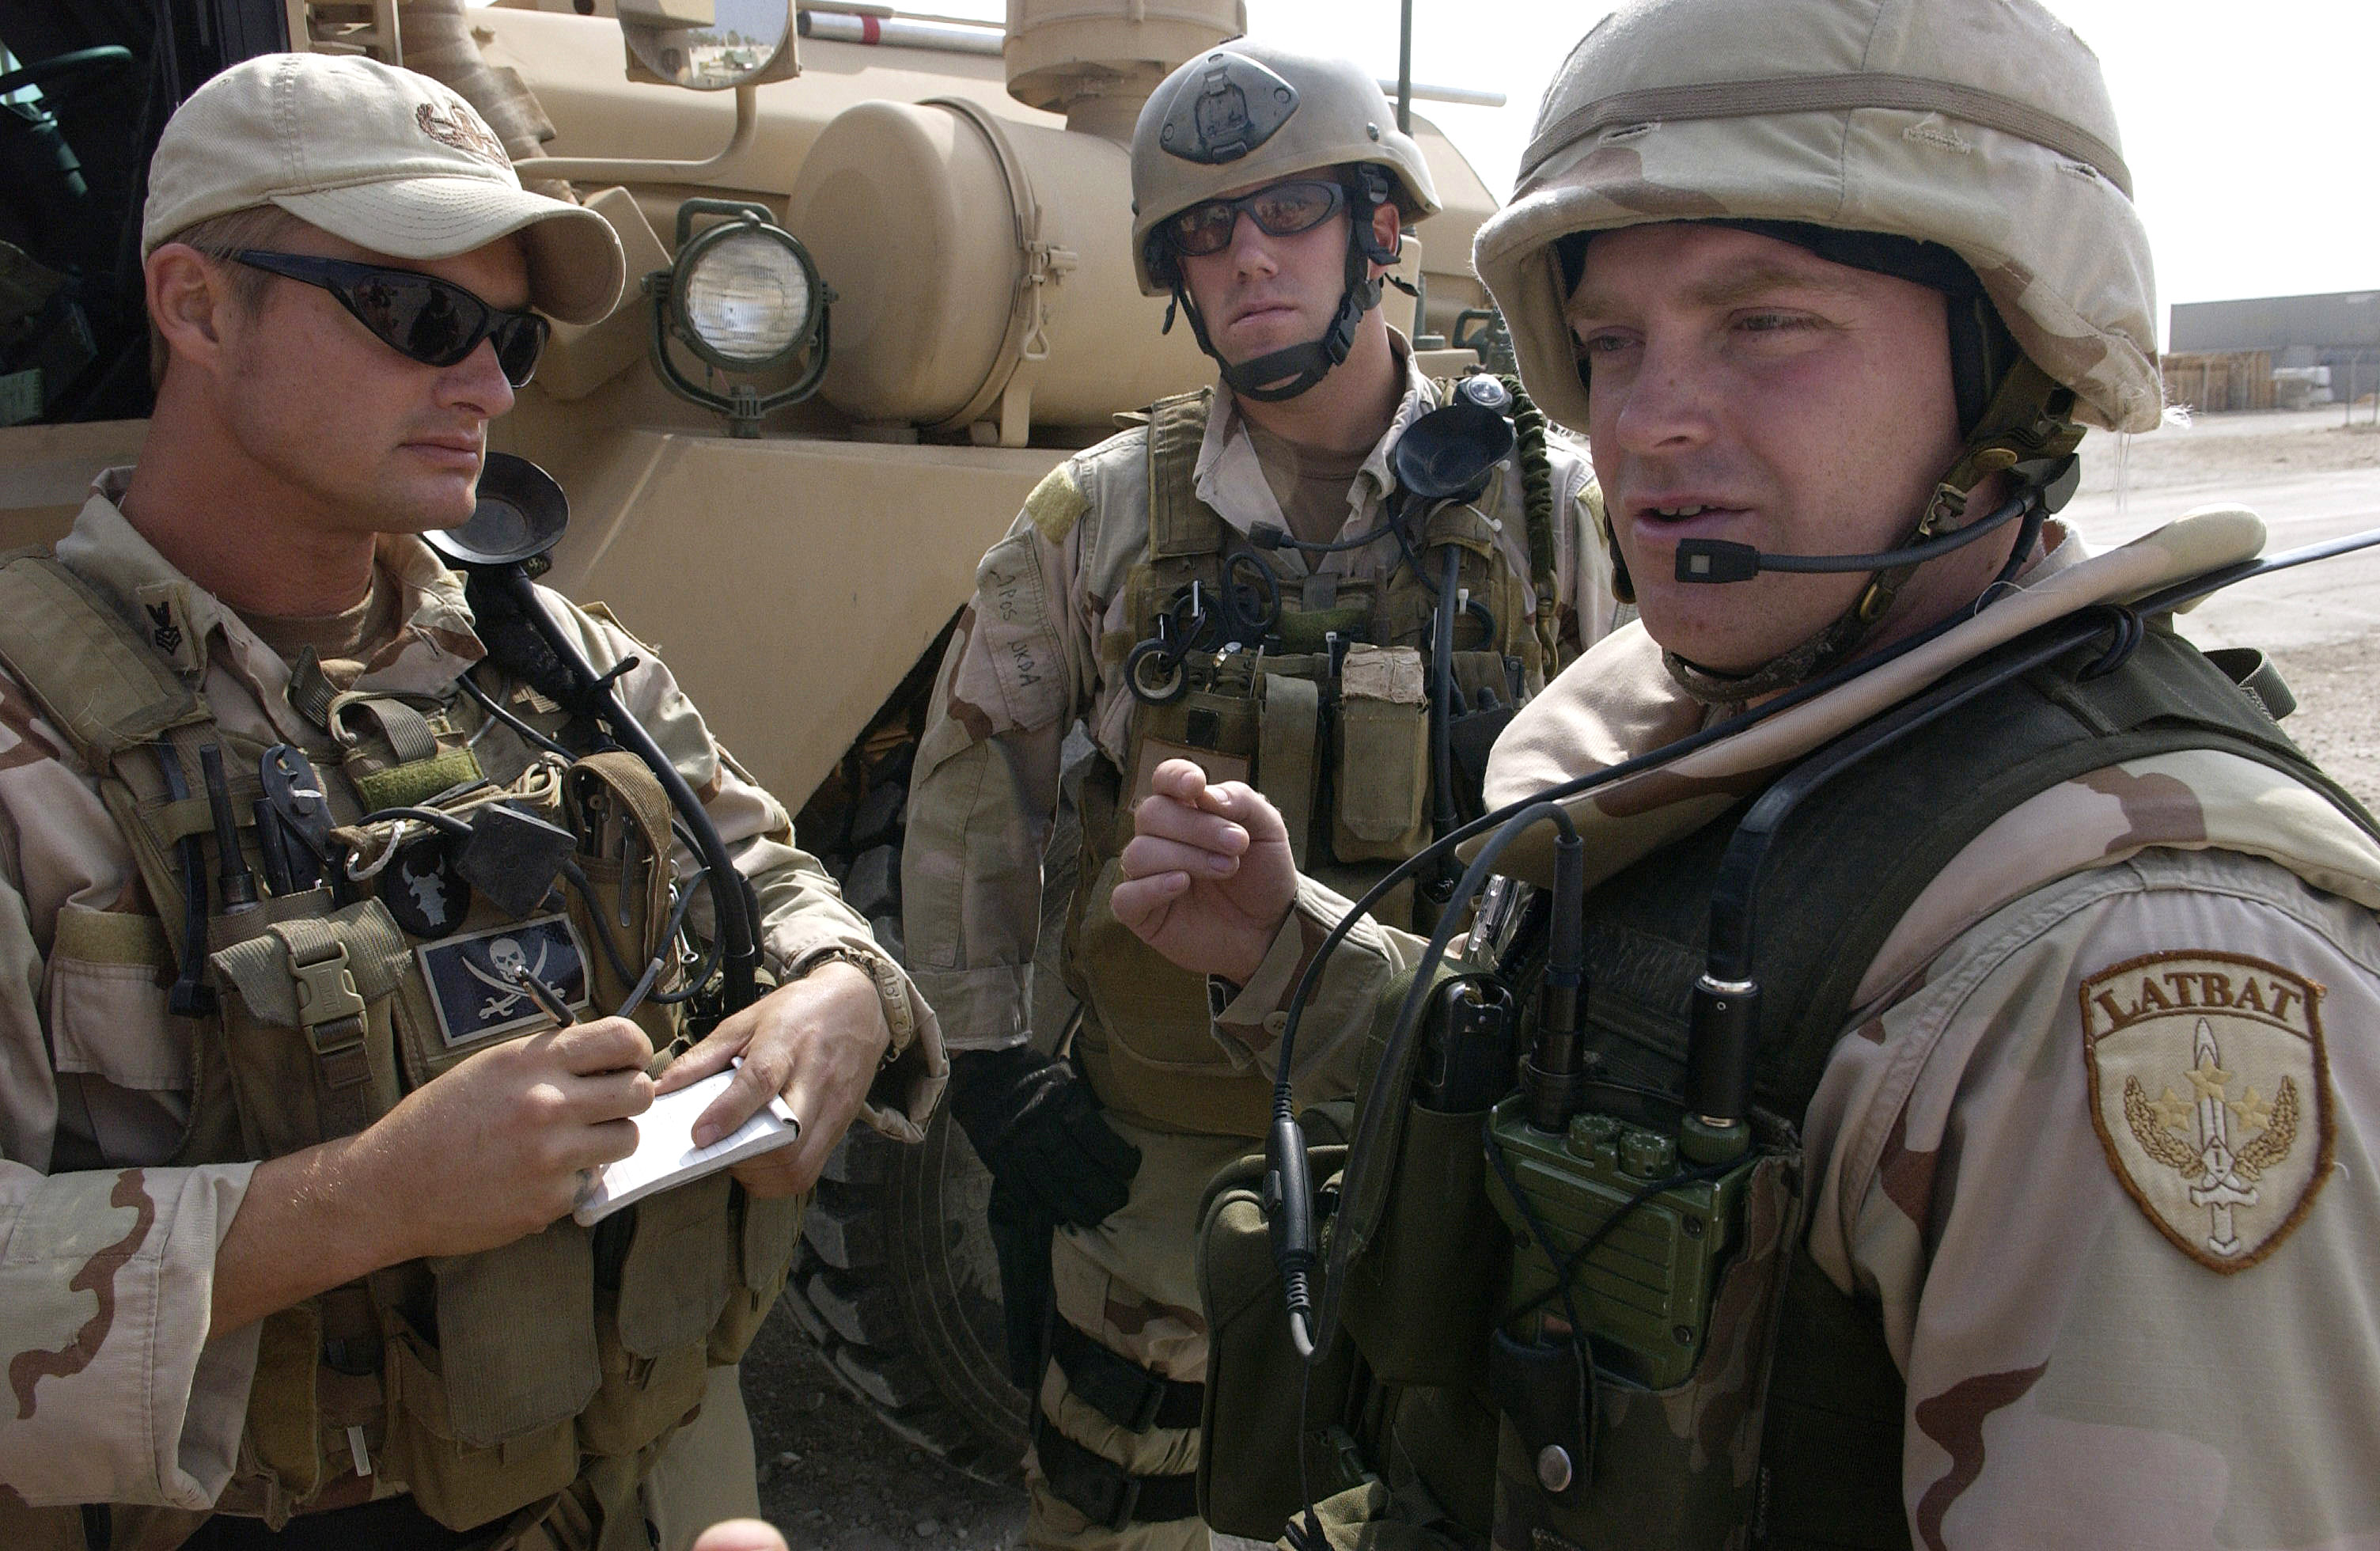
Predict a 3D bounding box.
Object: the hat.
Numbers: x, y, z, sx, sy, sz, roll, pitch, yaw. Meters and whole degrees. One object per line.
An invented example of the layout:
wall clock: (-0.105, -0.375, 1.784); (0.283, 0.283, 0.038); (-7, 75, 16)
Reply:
hat: (-1.091, -0.825, 2.880); (0.519, 0.296, 0.364); (5, 11, -1)

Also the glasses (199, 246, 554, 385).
glasses: (-1.068, -0.635, 2.865); (0.241, 0.079, 0.195); (24, 1, -9)

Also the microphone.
microphone: (0.744, -0.257, 2.311); (0.276, 0.074, 0.215); (-20, 8, -6)

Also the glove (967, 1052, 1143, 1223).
glove: (-0.251, 0.647, 3.776); (0.366, 0.221, 0.116); (43, -5, 0)
